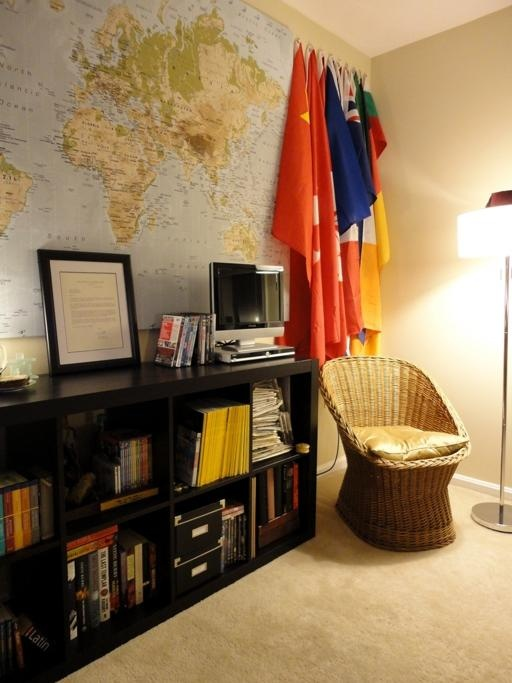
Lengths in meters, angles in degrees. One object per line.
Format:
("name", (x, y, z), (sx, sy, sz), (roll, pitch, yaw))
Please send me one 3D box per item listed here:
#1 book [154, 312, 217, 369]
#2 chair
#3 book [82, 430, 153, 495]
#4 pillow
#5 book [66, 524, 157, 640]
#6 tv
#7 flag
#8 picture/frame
("book", (-0.280, -0.012, 1.847), (0.200, 0.257, 0.177), (-1, 5, -25))
("chair", (0.686, 0.462, 2.257), (0.593, 0.812, 0.768), (-1, 2, -15))
("book", (-0.419, 0.347, 1.573), (0.192, 0.211, 0.150), (2, -2, 31))
("pillow", (0.620, 0.397, 2.020), (0.439, 0.070, 0.426), (1, 6, 8))
("book", (-0.461, 0.675, 1.475), (0.144, 0.299, 0.333), (4, 7, 32))
("tv", (-0.047, -0.141, 1.944), (0.116, 0.302, 0.327), (0, 4, 44))
("flag", (0.399, -0.680, 2.531), (0.306, 1.556, 0.797), (4, 7, 36))
("picture/frame", (-0.554, -0.090, 1.612), (0.031, 0.475, 0.369), (-3, 2, 40))
